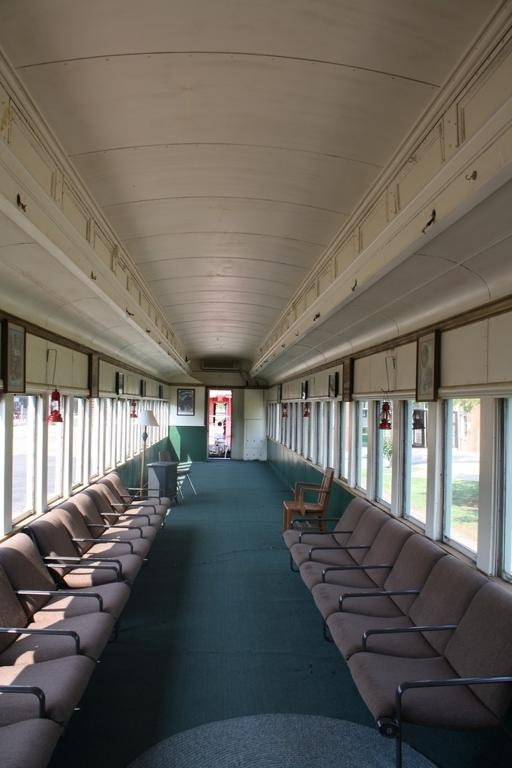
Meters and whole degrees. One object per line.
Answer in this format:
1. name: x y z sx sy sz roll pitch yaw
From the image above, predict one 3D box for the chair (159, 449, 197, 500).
1. chair: -1.755 2.070 11.355 0.382 0.783 1.134 -7 4 -1
